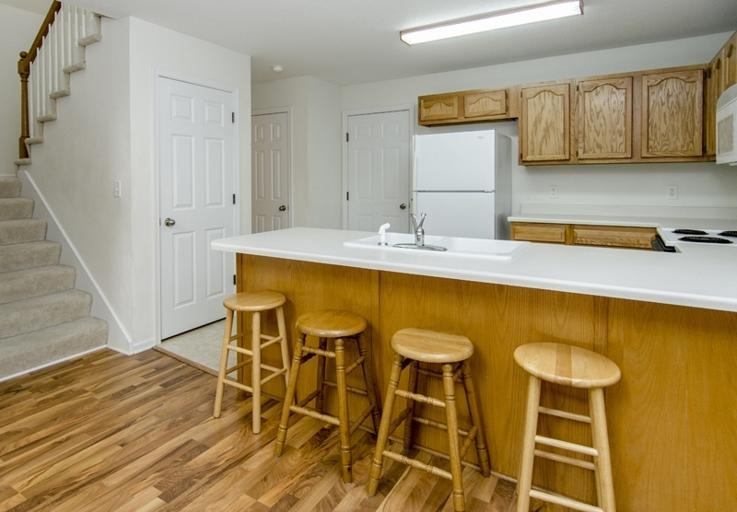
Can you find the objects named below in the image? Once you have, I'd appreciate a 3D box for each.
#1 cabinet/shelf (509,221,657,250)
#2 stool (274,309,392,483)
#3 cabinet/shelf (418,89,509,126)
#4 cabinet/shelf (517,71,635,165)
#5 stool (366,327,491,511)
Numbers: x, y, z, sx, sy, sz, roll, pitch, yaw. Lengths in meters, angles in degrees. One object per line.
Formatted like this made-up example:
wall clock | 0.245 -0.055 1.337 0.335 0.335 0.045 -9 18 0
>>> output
cabinet/shelf | 1.947 -0.221 4.699 1.232 0.202 0.096 5 13 22
stool | -0.261 0.807 3.106 0.624 0.810 0.613 6 1 26
cabinet/shelf | 1.030 -1.611 5.398 1.008 0.349 0.308 3 15 26
cabinet/shelf | 2.002 -1.289 4.974 1.074 0.853 0.418 0 -1 17
stool | 0.357 0.861 2.795 0.631 0.877 0.494 4 13 18
